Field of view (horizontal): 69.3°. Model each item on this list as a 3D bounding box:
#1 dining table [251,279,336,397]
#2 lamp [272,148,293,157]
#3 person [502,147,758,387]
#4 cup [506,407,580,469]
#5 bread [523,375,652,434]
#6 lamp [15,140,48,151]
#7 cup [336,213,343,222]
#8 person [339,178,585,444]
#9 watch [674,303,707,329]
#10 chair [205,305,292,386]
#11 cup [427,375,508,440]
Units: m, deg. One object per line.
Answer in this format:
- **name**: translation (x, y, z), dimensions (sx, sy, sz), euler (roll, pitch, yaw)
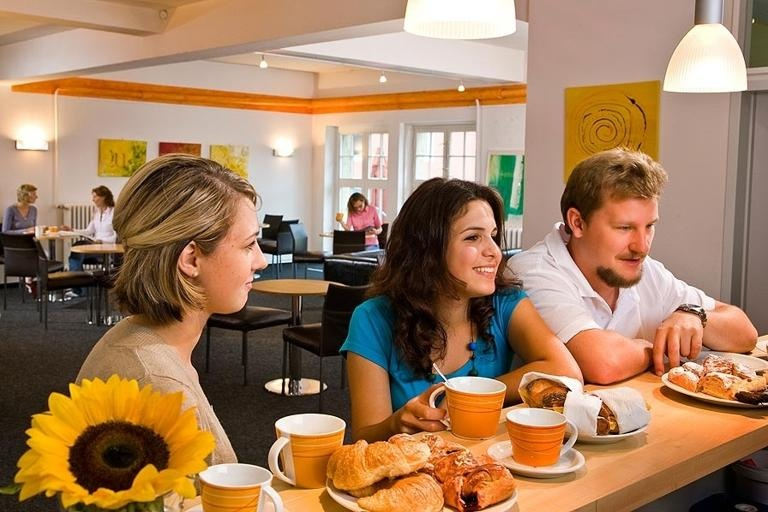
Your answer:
- **dining table**: translation (-0.827, 0.784, 5.240), dimensions (0.891, 0.900, 0.848), euler (1, 0, 15)
- **lamp**: translation (-2.205, -2.256, 12.265), dimensions (0.501, 0.191, 0.111), euler (-3, 7, -31)
- **person**: translation (0.849, 0.053, 2.318), dimensions (1.069, 0.795, 0.904), euler (-12, 21, -33)
- **cup**: translation (0.361, 0.413, 1.270), dimensions (0.167, 0.091, 0.133), euler (0, 1, 3)
- **bread**: translation (0.530, 0.365, 1.398), dimensions (0.200, 0.071, 0.192), euler (-1, 7, -32)
- **lamp**: translation (-6.162, -1.924, 9.745), dimensions (0.506, 0.187, 0.158), euler (-3, 6, -31)
- **cup**: translation (-0.793, -0.686, 9.987), dimensions (0.157, 0.183, 0.157), euler (1, 15, 0)
- **person**: translation (0.227, 0.371, 1.943), dimensions (0.730, 1.147, 0.596), euler (-3, 4, -14)
- **watch**: translation (1.187, 0.229, 2.143), dimensions (0.100, 0.089, 0.122), euler (3, 6, 30)
- **chair**: translation (-1.367, 0.809, 5.561), dimensions (0.781, 0.731, 0.888), euler (-11, 16, -41)
- **cup**: translation (0.208, 0.394, 1.405), dimensions (0.193, 0.122, 0.154), euler (0, -7, 2)
